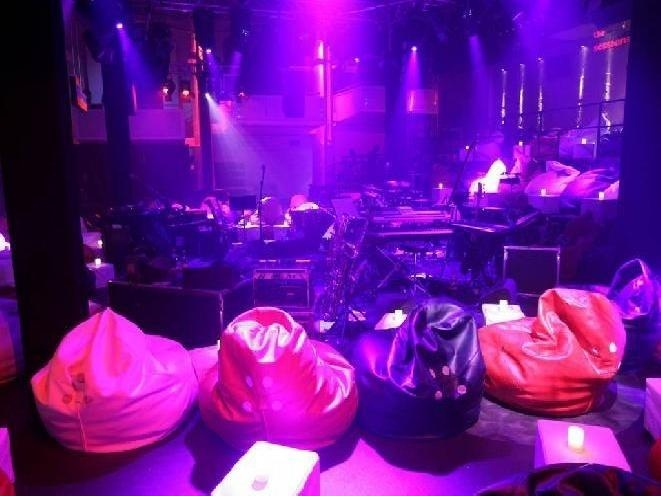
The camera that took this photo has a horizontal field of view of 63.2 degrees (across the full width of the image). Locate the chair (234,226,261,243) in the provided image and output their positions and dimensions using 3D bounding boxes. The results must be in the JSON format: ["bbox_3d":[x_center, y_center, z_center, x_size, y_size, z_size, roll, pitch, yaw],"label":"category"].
[{"bbox_3d":[-1.273,-0.215,8.089,0.302,0.221,0.300,-4,3,-42],"label":"chair"}]

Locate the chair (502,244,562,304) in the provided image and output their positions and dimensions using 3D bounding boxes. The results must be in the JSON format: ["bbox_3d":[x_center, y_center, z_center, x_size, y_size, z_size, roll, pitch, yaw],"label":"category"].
[{"bbox_3d":[2.242,0.237,6.065,0.619,0.690,0.404,-2,22,13],"label":"chair"}]

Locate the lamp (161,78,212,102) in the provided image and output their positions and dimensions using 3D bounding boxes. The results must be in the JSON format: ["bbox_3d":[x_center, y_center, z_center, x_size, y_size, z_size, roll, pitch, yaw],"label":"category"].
[{"bbox_3d":[-3.514,-3.624,12.317,0.625,0.512,0.400,-5,16,-18],"label":"lamp"}]

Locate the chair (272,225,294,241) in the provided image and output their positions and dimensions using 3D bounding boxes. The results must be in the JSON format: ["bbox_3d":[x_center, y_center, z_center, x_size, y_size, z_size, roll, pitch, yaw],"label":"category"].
[{"bbox_3d":[-0.706,-0.232,7.817,0.214,0.159,0.231,0,9,0],"label":"chair"}]

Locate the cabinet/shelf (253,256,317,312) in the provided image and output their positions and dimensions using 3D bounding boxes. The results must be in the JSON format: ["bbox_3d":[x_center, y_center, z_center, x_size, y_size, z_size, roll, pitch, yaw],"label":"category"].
[{"bbox_3d":[-0.532,0.268,5.702,0.621,0.555,0.687,2,31,-8],"label":"cabinet/shelf"}]
